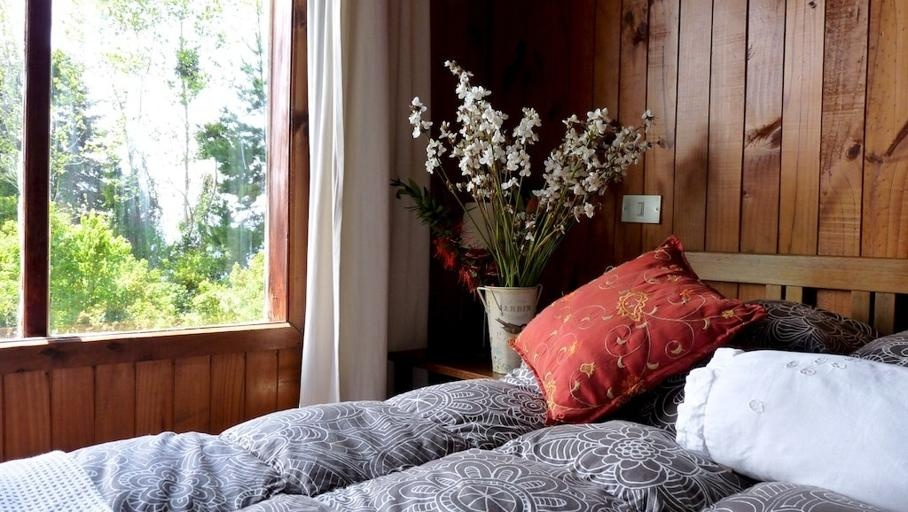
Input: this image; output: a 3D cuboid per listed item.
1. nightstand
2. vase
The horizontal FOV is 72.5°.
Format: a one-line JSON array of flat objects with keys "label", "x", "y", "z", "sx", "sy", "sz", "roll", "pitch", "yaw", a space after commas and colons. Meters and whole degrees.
[{"label": "nightstand", "x": -0.115, "y": 0.612, "z": 3.088, "sx": 0.410, "sy": 0.267, "sz": 0.238, "roll": -5, "pitch": -18, "yaw": 13}, {"label": "vase", "x": 0.235, "y": 0.341, "z": 2.988, "sx": 0.419, "sy": 0.501, "sz": 0.341, "roll": 0, "pitch": -1, "yaw": 2}]
